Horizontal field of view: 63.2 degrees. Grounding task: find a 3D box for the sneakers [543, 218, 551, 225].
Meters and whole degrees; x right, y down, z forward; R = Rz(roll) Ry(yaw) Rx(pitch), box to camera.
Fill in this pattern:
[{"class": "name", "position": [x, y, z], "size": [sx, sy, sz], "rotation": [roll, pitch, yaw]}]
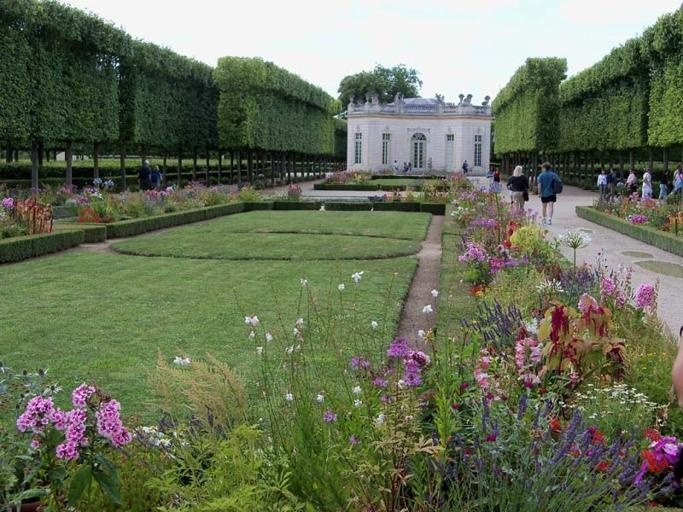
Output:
[{"class": "sneakers", "position": [6.261, -1.047, 16.816], "size": [0.165, 0.213, 0.450], "rotation": [-1, -3, 17]}]
